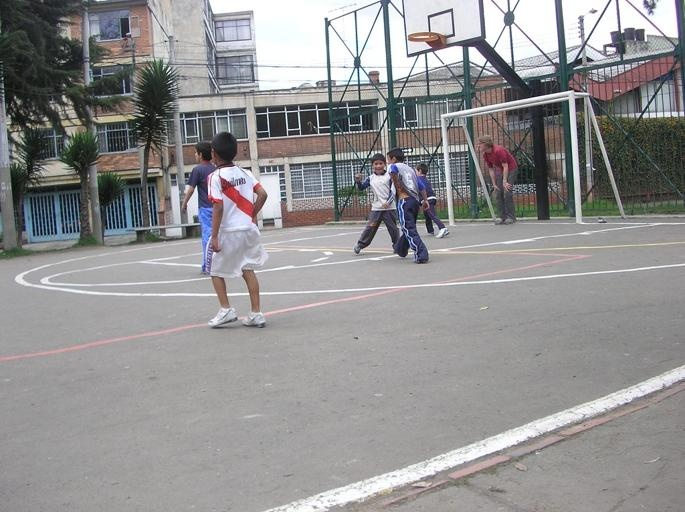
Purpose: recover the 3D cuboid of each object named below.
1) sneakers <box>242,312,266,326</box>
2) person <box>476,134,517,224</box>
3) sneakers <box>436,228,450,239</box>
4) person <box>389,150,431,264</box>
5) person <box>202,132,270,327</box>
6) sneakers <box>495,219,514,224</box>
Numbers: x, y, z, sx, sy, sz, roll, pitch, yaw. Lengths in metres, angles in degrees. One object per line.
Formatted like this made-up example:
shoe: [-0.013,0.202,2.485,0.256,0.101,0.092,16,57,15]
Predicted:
sneakers: [-0.935,0.670,7.011,0.295,0.132,0.110,4,6,42]
person: [4.073,-1.968,16.847,0.829,2.313,1.467,-5,4,16]
sneakers: [2.323,-0.524,15.078,0.375,0.161,0.138,-49,7,42]
person: [1.115,-0.947,11.510,0.577,2.044,1.550,-5,4,7]
person: [-1.188,-0.294,7.159,0.702,2.124,0.641,-4,9,-25]
sneakers: [4.380,-0.949,17.451,0.470,0.207,0.158,6,-6,-35]
